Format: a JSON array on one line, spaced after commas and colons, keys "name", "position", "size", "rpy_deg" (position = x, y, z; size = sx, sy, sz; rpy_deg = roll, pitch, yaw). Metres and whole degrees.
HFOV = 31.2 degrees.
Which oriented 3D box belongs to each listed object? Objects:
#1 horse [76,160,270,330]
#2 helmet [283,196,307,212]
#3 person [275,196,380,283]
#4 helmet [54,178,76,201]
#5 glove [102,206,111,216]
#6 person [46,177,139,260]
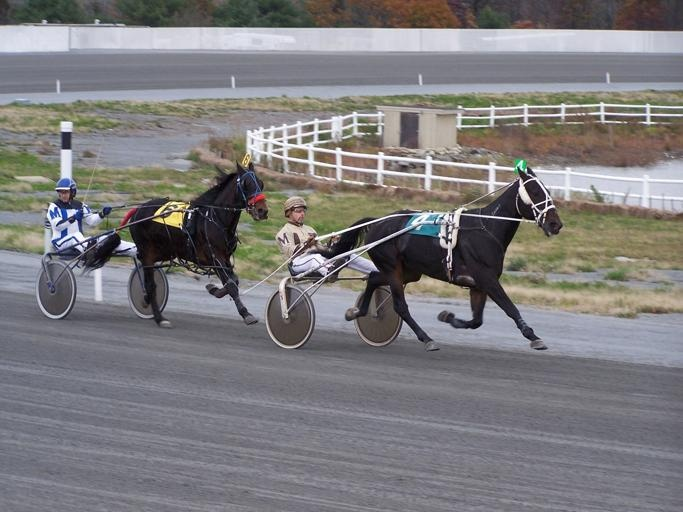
[{"name": "horse", "position": [-2.385, -0.144, 19.606], "size": [1.197, 2.392, 3.887], "rpy_deg": [0, -3, -40]}, {"name": "helmet", "position": [-0.705, -0.786, 18.573], "size": [0.294, 0.165, 0.314], "rpy_deg": [2, 9, 0]}, {"name": "person", "position": [-0.243, -0.258, 18.384], "size": [1.715, 1.064, 1.033], "rpy_deg": [7, 10, 35]}, {"name": "helmet", "position": [-4.532, -1.060, 19.665], "size": [0.335, 0.342, 0.398], "rpy_deg": [1, 3, 9]}, {"name": "glove", "position": [-3.704, -0.691, 19.133], "size": [0.133, 0.132, 0.155], "rpy_deg": [13, 19, -5]}, {"name": "person", "position": [-4.097, -0.653, 19.353], "size": [1.546, 1.000, 0.897], "rpy_deg": [6, 8, 41]}]
